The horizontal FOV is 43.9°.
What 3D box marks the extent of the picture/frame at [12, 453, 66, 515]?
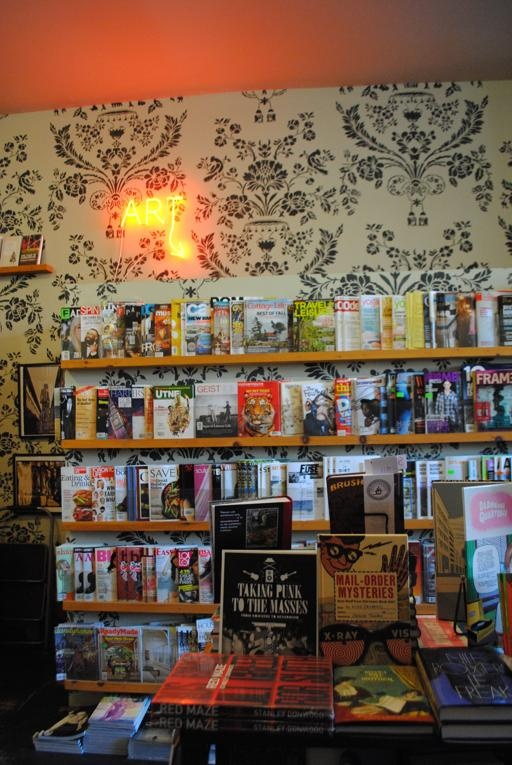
[{"bbox_3d":[-1.376,0.650,4.059,0.442,0.510,0.056,-3,0,3],"label":"picture/frame"}]
